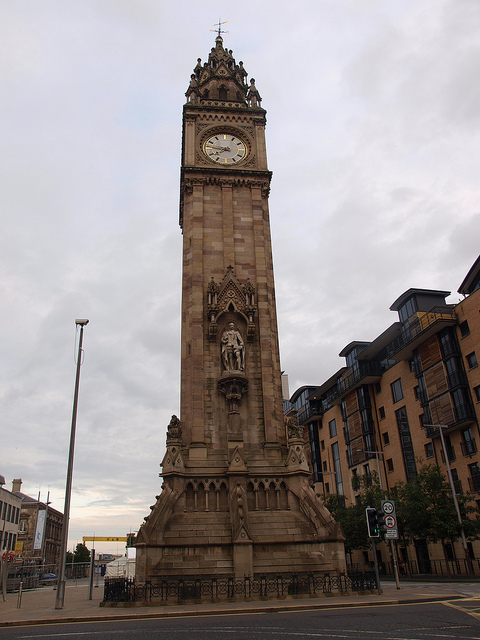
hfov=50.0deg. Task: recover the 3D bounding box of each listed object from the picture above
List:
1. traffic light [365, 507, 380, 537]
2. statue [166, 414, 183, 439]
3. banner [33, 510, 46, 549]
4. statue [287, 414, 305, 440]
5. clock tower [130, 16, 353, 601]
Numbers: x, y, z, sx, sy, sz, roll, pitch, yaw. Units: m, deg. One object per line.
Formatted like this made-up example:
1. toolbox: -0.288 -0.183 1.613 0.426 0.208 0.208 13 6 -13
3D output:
1. traffic light: 4.958 7.574 19.260 0.402 1.038 0.924 -9 -25 11
2. statue: -3.166 5.217 24.939 0.628 1.075 0.423 7 -26 -21
3. banner: -32.654 34.059 83.846 1.276 6.146 6.265 6 -26 -18
4. statue: 2.780 5.558 26.671 0.713 1.318 1.471 -5 -25 4
5. clock tower: -0.704 -5.696 30.450 7.782 38.375 7.251 1 -25 -9
